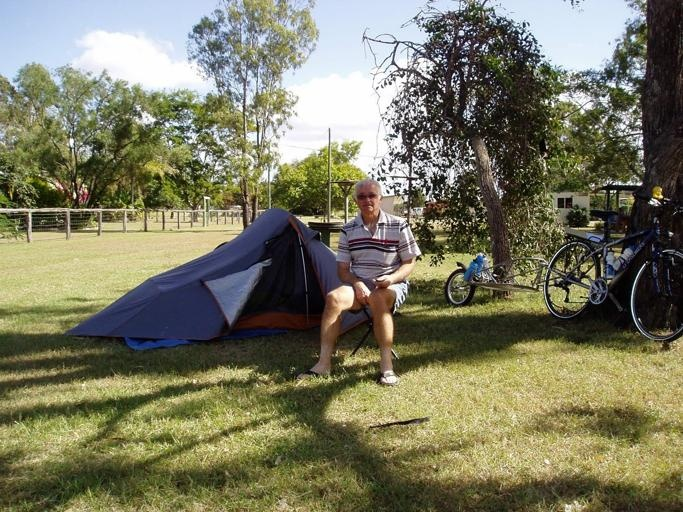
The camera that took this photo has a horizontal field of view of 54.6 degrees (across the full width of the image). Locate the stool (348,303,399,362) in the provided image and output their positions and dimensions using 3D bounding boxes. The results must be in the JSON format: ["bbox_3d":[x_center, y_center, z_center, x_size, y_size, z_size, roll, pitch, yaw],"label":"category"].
[{"bbox_3d":[0.340,0.744,7.202,0.487,0.721,0.486,-10,-17,23],"label":"stool"}]

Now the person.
[{"bbox_3d":[0.245,0.204,6.881,1.031,1.926,1.305,2,14,12],"label":"person"}]

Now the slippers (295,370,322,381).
[{"bbox_3d":[-0.329,1.192,6.591,0.225,0.070,0.093,3,-4,-21],"label":"slippers"}]

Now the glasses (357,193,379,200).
[{"bbox_3d":[0.278,-0.621,6.887,0.102,0.059,0.142,1,-3,14],"label":"glasses"}]

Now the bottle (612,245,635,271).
[{"bbox_3d":[3.176,0.030,7.445,0.109,0.293,0.162,24,14,-37],"label":"bottle"}]

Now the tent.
[{"bbox_3d":[-1.353,0.393,8.028,2.042,0.920,2.186,-3,6,17],"label":"tent"}]
